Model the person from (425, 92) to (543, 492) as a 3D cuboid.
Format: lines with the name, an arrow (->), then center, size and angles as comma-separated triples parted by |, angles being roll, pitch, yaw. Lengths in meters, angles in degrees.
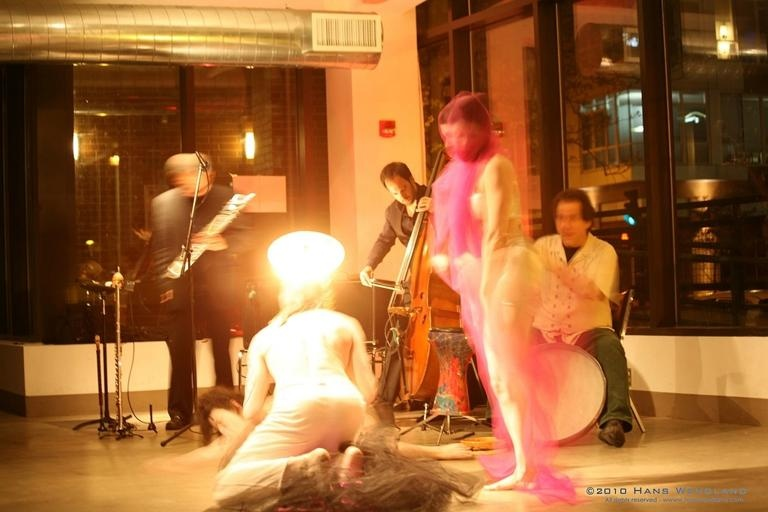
person -> 0.652, 0.173, 5.344 | 0.543, 2.628, 0.941 | 0, -1, -15

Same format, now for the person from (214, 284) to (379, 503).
person -> -0.546, 0.829, 4.909 | 0.899, 1.322, 0.417 | -1, -1, 12

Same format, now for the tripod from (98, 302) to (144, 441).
tripod -> -2.398, 0.918, 7.109 | 0.353, 1.264, 1.119 | 0, -1, -20
